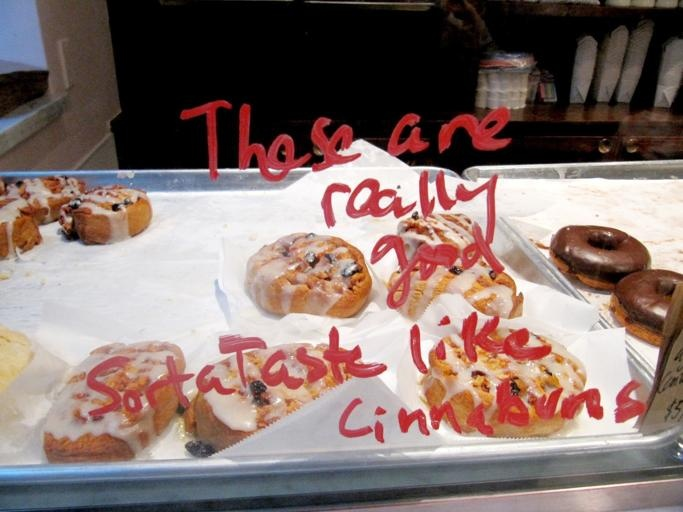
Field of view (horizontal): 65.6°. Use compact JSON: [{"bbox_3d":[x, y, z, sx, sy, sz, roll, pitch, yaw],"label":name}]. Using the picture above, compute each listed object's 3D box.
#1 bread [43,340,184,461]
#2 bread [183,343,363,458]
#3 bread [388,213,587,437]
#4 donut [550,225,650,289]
[{"bbox_3d":[-0.411,0.263,0.970,0.243,0.148,0.163,0,28,-6],"label":"bread"},{"bbox_3d":[-0.130,0.251,1.012,0.280,0.091,0.179,-19,39,-22],"label":"bread"},{"bbox_3d":[0.284,0.117,1.248,0.374,0.159,0.485,-8,37,-15],"label":"bread"},{"bbox_3d":[0.678,-0.003,1.419,0.202,0.069,0.191,-17,38,-24],"label":"donut"}]
